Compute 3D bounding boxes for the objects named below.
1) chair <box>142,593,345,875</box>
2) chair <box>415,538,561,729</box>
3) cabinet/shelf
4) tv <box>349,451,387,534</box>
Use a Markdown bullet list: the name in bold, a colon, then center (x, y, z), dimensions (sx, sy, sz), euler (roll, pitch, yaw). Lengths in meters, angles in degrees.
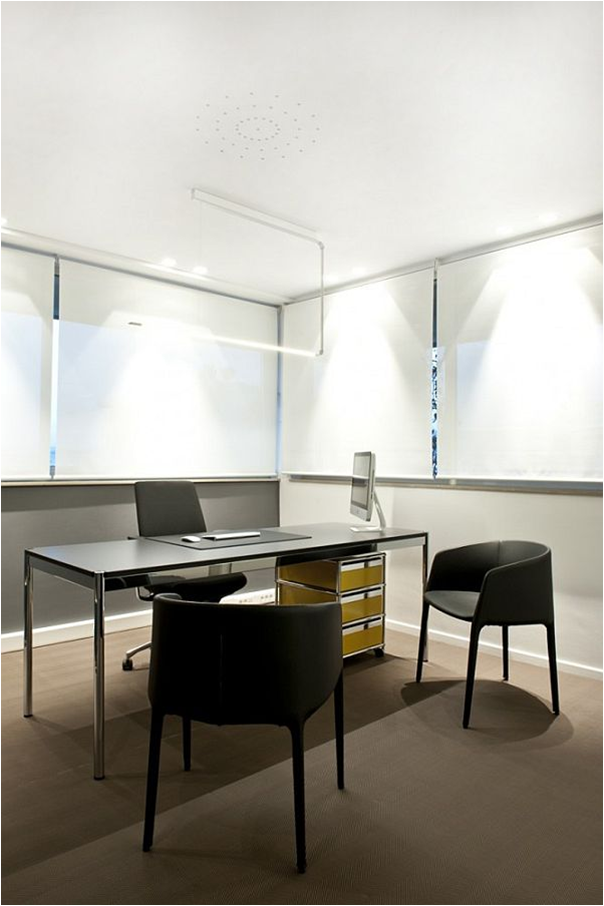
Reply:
- **chair**: center (-0.137, 0.711, 1.857), dimensions (0.509, 0.799, 0.600), euler (4, 8, 3)
- **chair**: center (0.907, 0.784, 2.987), dimensions (0.476, 0.883, 0.536), euler (0, 11, -13)
- **cabinet/shelf**: center (0.265, 0.894, 3.674), dimensions (0.368, 0.668, 0.410), euler (-4, 7, -31)
- **tv**: center (0.439, 0.253, 3.963), dimensions (0.126, 0.504, 0.417), euler (0, -5, -9)
